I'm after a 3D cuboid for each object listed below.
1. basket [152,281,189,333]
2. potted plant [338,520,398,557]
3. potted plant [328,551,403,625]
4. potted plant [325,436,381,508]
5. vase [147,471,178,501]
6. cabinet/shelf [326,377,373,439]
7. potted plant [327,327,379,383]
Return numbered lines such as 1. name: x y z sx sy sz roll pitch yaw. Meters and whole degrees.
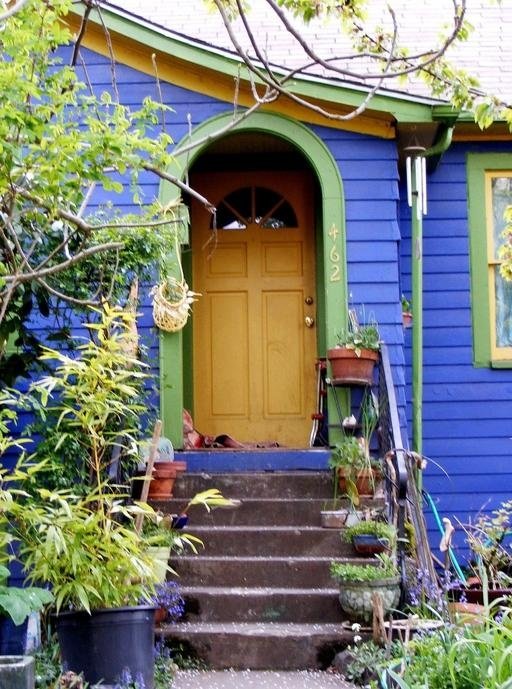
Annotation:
1. basket: -0.550 -0.309 5.242 0.250 0.365 0.355 0 -31 -5
2. potted plant: 0.622 1.032 4.042 0.212 0.167 0.226 3 -9 -14
3. potted plant: 0.520 1.172 3.570 0.323 0.304 0.268 0 -8 6
4. potted plant: 0.603 0.769 4.598 0.337 0.488 0.343 1 -11 0
5. vase: -0.557 0.872 4.606 0.193 0.220 0.167 1 -15 -3
6. cabinet/shelf: 0.643 0.423 5.156 0.399 0.476 0.341 -1 2 12
7. potted plant: 0.638 0.107 5.031 0.309 0.403 0.355 1 -14 0
